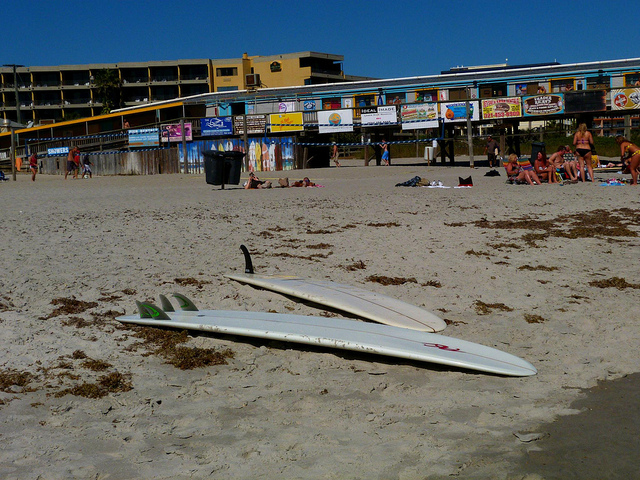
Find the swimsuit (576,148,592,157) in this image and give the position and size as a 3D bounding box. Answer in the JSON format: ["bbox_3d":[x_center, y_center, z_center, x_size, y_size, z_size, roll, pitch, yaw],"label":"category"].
[{"bbox_3d":[6.241,-2.056,20.873,0.089,0.209,0.332,-5,7,-36],"label":"swimsuit"}]

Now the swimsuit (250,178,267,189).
[{"bbox_3d":[-1.549,-1.426,22.467,0.318,0.152,0.549,4,18,19],"label":"swimsuit"}]

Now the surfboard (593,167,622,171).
[{"bbox_3d":[7.872,-1.931,24.254,0.796,0.080,0.531,3,5,37],"label":"surfboard"}]

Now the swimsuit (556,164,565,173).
[{"bbox_3d":[5.797,-1.669,21.078,0.261,0.075,0.157,-7,30,17],"label":"swimsuit"}]

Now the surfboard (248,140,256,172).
[{"bbox_3d":[-2.761,-3.491,36.541,0.277,1.235,0.634,-2,6,-8],"label":"surfboard"}]

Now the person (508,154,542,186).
[{"bbox_3d":[4.902,-1.625,21.092,0.574,0.285,1.000,-17,-17,18],"label":"person"}]

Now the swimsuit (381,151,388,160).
[{"bbox_3d":[2.795,-3.560,37.404,0.189,0.341,0.383,-2,5,-5],"label":"swimsuit"}]

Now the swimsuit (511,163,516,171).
[{"bbox_3d":[4.641,-1.740,21.169,0.080,0.180,0.209,-2,5,-11],"label":"swimsuit"}]

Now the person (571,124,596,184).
[{"bbox_3d":[6.290,-2.045,20.933,0.510,1.368,1.695,0,5,16],"label":"person"}]

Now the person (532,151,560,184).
[{"bbox_3d":[5.413,-1.729,21.044,0.603,0.762,0.877,0,5,14],"label":"person"}]

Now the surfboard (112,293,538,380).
[{"bbox_3d":[0.032,1.047,9.256,3.941,0.235,0.689,3,5,18],"label":"surfboard"}]

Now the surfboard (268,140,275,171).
[{"bbox_3d":[-1.910,-3.386,36.242,0.153,1.022,0.398,-7,8,-42],"label":"surfboard"}]

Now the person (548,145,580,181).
[{"bbox_3d":[5.781,-1.786,21.128,0.618,0.854,0.927,14,19,30],"label":"person"}]

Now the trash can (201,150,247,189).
[{"bbox_3d":[-2.450,-1.775,22.423,0.688,0.966,0.928,3,7,38],"label":"trash can"}]

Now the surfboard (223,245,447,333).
[{"bbox_3d":[0.323,0.549,10.004,3.541,0.417,0.746,8,14,39],"label":"surfboard"}]
